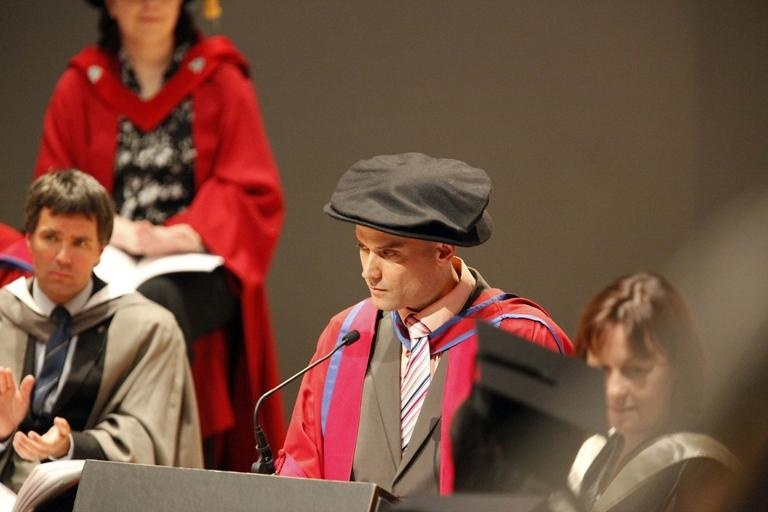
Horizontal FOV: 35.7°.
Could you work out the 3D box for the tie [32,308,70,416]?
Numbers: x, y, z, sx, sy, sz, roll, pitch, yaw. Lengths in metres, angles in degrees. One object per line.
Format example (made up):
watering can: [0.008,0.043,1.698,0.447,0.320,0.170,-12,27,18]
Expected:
tie: [-0.883,0.285,3.194,0.068,0.297,0.043,14,-12,-2]

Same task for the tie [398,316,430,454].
tie: [0.076,0.300,2.792,0.059,0.314,0.045,9,-20,4]
